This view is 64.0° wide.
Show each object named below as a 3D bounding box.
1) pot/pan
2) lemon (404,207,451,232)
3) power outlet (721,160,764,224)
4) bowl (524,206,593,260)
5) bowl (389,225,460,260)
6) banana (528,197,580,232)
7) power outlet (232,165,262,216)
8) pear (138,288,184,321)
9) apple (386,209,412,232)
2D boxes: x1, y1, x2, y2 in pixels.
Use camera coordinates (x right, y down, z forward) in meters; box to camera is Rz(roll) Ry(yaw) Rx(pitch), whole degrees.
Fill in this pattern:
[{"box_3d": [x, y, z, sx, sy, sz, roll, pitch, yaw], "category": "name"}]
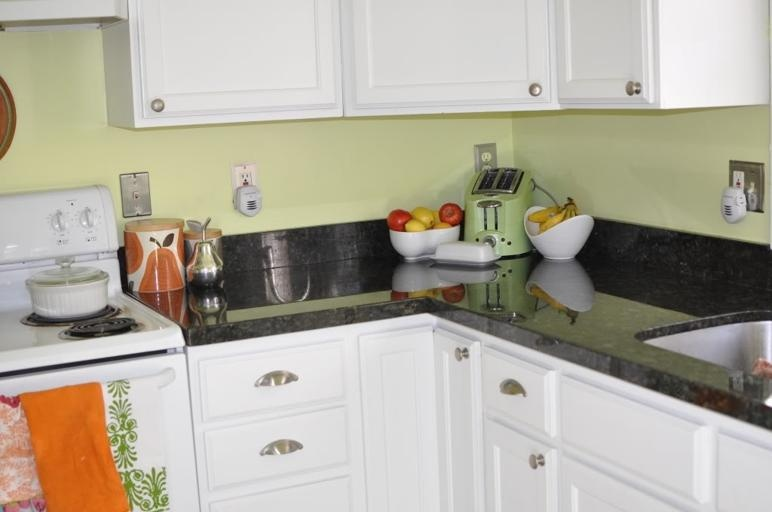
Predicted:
[{"box_3d": [-1.050, 0.102, 2.075, 0.263, 0.175, 0.269, 6, 17, 45], "category": "pot/pan"}, {"box_3d": [0.161, -0.142, 2.506, 0.125, 0.062, 0.124, -2, 5, -36], "category": "lemon"}, {"box_3d": [1.143, -0.201, 1.957, 0.066, 0.198, 0.115, -13, 14, -41], "category": "power outlet"}, {"box_3d": [0.681, -0.076, 2.426, 0.212, 0.141, 0.227, -3, 10, 0], "category": "bowl"}, {"box_3d": [0.171, -0.082, 2.545, 0.302, 0.127, 0.214, -11, 18, -35], "category": "bowl"}, {"box_3d": [0.656, -0.162, 2.394, 0.155, 0.071, 0.142, -23, 18, 22], "category": "banana"}, {"box_3d": [-0.557, -0.258, 2.453, 0.113, 0.211, 0.068, -7, 11, -12], "category": "power outlet"}, {"box_3d": [-0.764, 0.153, 2.110, 0.123, 0.091, 0.124, -2, 7, -22], "category": "pear"}, {"box_3d": [0.053, -0.145, 2.554, 0.090, 0.090, 0.088, 4, 2, 25], "category": "apple"}]
